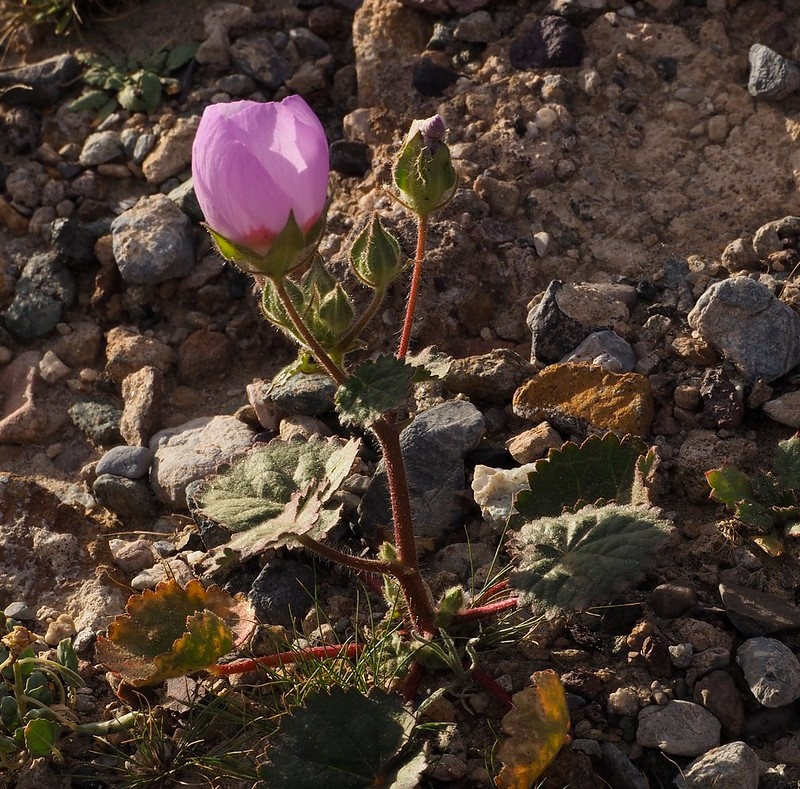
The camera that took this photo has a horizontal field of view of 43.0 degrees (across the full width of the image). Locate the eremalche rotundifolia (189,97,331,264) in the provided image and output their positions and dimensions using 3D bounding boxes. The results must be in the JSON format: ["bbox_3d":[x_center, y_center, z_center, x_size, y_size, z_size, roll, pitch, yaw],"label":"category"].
[{"bbox_3d":[-0.311,-0.502,2.309,0.246,0.301,0.331,11,53,36],"label":"eremalche rotundifolia"}]
